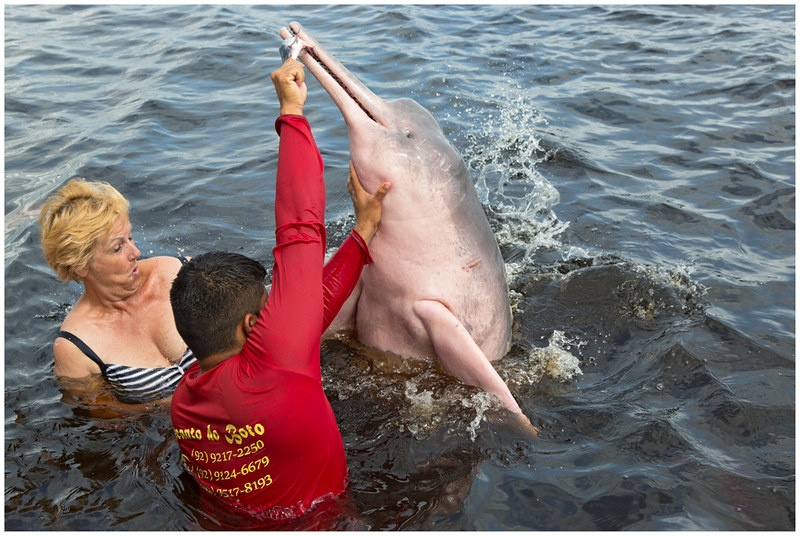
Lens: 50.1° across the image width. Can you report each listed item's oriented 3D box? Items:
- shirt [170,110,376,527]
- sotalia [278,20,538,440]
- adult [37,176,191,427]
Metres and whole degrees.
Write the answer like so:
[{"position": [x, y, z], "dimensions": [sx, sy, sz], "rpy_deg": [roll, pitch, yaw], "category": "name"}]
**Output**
[{"position": [-1.087, 0.362, 7.928], "dimensions": [2.197, 3.246, 1.662], "rpy_deg": [17, 31, 33], "category": "shirt"}, {"position": [0.263, -0.787, 10.782], "dimensions": [3.492, 3.232, 4.453], "rpy_deg": [0, 11, 1], "category": "sotalia"}, {"position": [-3.115, 0.303, 9.103], "dimensions": [1.384, 1.959, 1.799], "rpy_deg": [-6, 42, -4], "category": "adult"}]
